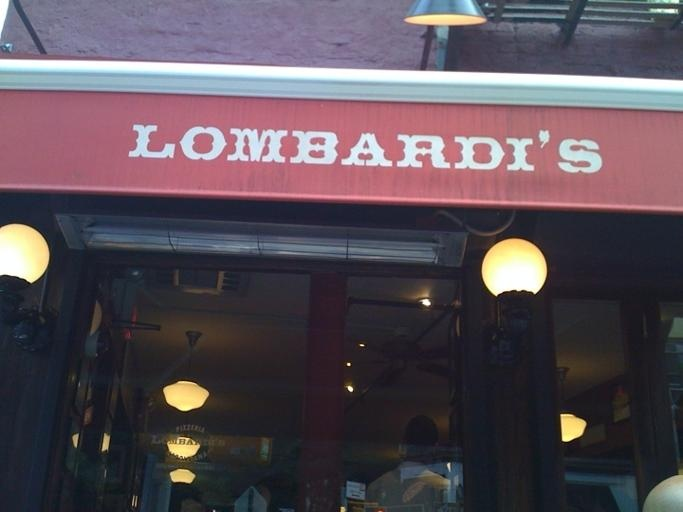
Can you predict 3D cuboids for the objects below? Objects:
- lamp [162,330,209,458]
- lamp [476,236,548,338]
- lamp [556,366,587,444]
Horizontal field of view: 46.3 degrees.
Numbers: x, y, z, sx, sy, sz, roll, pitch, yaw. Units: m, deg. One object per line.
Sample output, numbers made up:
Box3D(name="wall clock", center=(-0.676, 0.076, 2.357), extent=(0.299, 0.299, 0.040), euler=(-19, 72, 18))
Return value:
Box3D(name="lamp", center=(-0.937, 0.840, 4.871), extent=(0.278, 0.783, 0.078), euler=(6, -27, -11))
Box3D(name="lamp", center=(0.953, 0.177, 4.413), extent=(0.387, 0.561, 0.395), euler=(-5, -10, 34))
Box3D(name="lamp", center=(1.342, 0.873, 4.683), extent=(0.223, 0.447, 0.064), euler=(22, -33, -36))
